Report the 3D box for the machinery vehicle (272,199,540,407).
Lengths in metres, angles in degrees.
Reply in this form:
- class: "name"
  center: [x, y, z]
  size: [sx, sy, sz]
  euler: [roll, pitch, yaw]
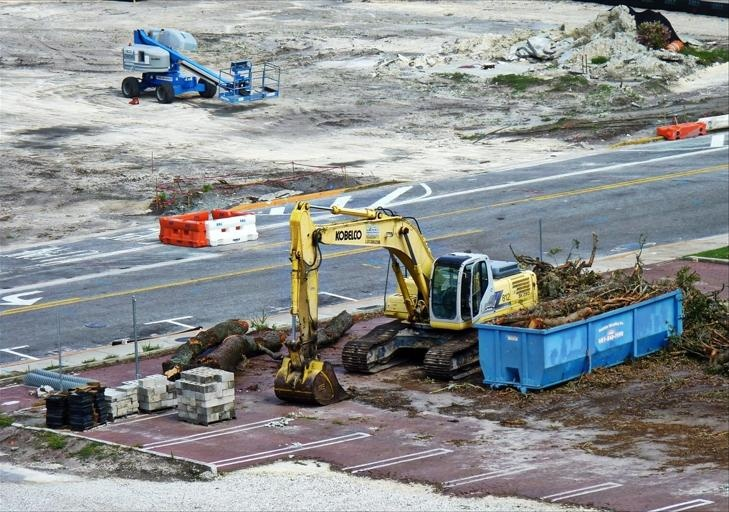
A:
- class: "machinery vehicle"
  center: [1.059, 1.158, 36.496]
  size: [8.263, 6.178, 3.243]
  euler: [-10, 11, -37]
